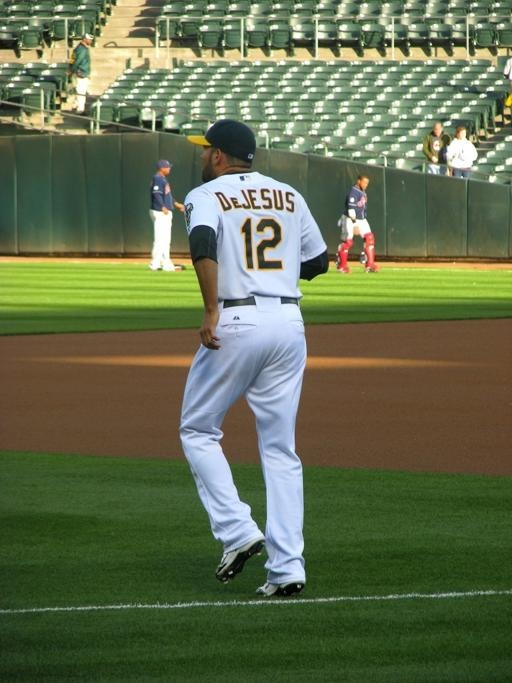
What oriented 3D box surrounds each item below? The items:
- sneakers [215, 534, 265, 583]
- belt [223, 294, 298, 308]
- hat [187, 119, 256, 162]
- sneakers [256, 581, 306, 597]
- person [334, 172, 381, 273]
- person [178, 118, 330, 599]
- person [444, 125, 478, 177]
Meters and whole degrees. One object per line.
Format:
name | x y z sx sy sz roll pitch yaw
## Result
sneakers | -0.066 0.854 6.048 0.181 0.067 0.095 -42 32 -6
belt | 0.030 -0.155 6.020 0.333 0.051 0.078 -4 8 -27
hat | -0.137 -0.800 6.156 0.224 0.132 0.154 25 18 11
sneakers | 0.090 0.936 5.854 0.181 0.066 0.097 -1 7 3
person | 1.320 -1.513 20.427 0.533 1.349 1.744 0 7 4
person | -0.030 0.038 6.063 0.543 1.799 0.698 -1 6 1
person | 3.107 -2.850 23.451 0.438 0.762 1.711 0 7 9
